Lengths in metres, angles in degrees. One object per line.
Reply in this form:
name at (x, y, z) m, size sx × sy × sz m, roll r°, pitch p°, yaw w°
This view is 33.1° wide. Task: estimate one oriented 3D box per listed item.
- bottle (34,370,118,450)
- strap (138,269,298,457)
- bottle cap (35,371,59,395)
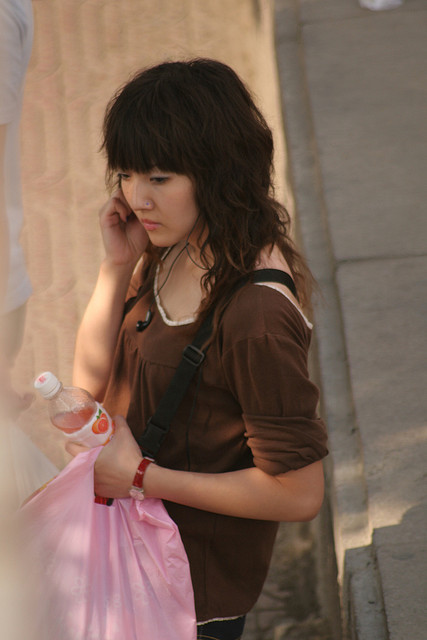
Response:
bottle at (-0.255, 0.177, 1.297) m, size 0.094 × 0.223 × 0.081 m, roll 8°, pitch 52°, yaw 19°
strap at (-0.002, 0.065, 1.391) m, size 0.223 × 0.386 × 0.091 m, roll 35°, pitch 11°, yaw -4°
bottle cap at (-0.278, 0.103, 1.234) m, size 0.041 × 0.035 × 0.036 m, roll -9°, pitch 42°, yaw 13°
